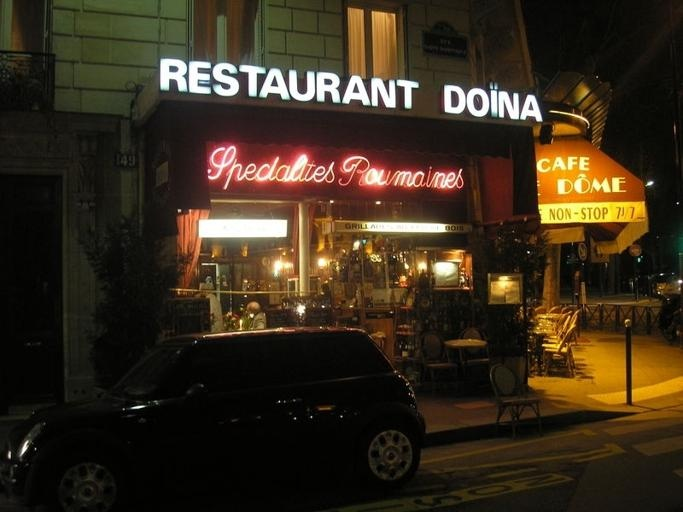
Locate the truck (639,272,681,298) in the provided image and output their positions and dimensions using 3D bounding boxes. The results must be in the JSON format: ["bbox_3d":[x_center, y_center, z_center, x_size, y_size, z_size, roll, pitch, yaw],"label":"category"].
[{"bbox_3d":[17.842,1.624,40.029,2.050,1.802,3.488,-1,7,18],"label":"truck"}]

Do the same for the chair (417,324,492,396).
[{"bbox_3d":[2.441,2.274,15.869,1.289,1.903,1.315,1,-8,-9],"label":"chair"}]
